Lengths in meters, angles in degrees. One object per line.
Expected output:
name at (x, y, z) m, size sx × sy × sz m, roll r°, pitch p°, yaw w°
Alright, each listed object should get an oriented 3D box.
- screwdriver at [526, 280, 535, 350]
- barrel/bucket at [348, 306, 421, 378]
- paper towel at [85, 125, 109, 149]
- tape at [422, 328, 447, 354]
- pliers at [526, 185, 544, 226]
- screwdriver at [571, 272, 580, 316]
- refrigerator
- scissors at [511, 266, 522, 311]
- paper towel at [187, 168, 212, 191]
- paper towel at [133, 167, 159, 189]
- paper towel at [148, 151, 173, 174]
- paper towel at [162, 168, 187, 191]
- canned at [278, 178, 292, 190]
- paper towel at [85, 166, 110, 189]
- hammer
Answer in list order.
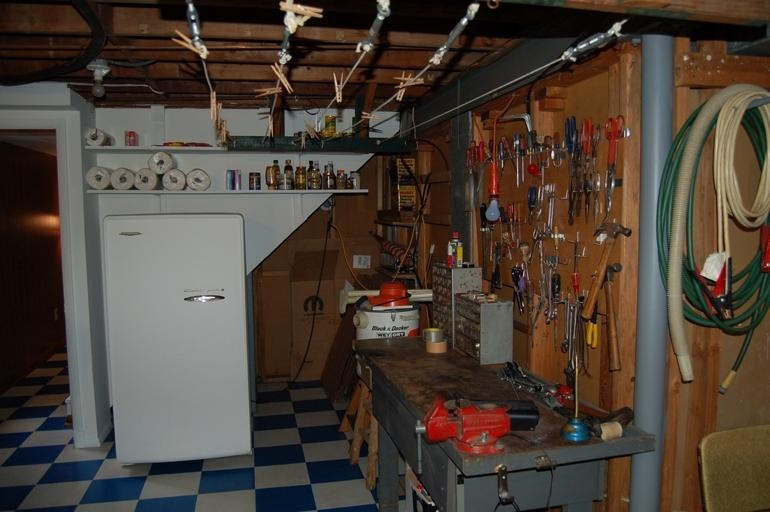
screwdriver at (1.092, 0.435, 4.611) m, size 0.065 × 0.499 × 0.057 m, roll -2°, pitch 3°, yaw -23°
barrel/bucket at (0.034, 0.710, 5.305) m, size 0.537 × 0.533 × 0.543 m, roll 0°, pitch 0°, yaw 0°
paper towel at (-2.692, -1.087, 5.797) m, size 0.192 × 0.162 × 0.244 m, roll -4°, pitch 13°, yaw -13°
tape at (0.380, 0.648, 4.720) m, size 0.135 × 0.146 × 0.199 m, roll 0°, pitch -1°, yaw -11°
pliers at (1.101, -0.378, 4.571) m, size 0.104 × 0.254 × 0.058 m, roll 2°, pitch -1°, yaw -17°
screwdriver at (1.281, 0.254, 4.187) m, size 0.045 × 0.250 × 0.045 m, roll -3°, pitch -5°, yaw 10°
refrigerator at (-1.899, 0.664, 5.819) m, size 1.363 × 2.576 × 0.840 m, roll -1°, pitch 3°, yaw -12°
scissors at (1.025, 0.255, 4.723) m, size 0.112 × 0.286 × 0.089 m, roll -2°, pitch -2°, yaw 45°
paper towel at (-1.763, -0.703, 5.836) m, size 0.201 × 0.201 × 0.124 m, roll -5°, pitch 13°, yaw -17°
paper towel at (-2.202, -0.704, 5.727) m, size 0.193 × 0.189 × 0.106 m, roll -6°, pitch 0°, yaw -7°
paper towel at (-2.075, -0.853, 5.758) m, size 0.197 × 0.193 × 0.044 m, roll -3°, pitch 7°, yaw -8°
paper towel at (-1.967, -0.700, 5.798) m, size 0.215 × 0.199 × 0.109 m, roll -6°, pitch 13°, yaw -20°
canned at (-0.970, -0.682, 6.062) m, size 0.117 × 0.118 × 0.117 m, roll 0°, pitch -2°, yaw 4°
paper towel at (-2.653, -0.705, 5.717) m, size 0.132 × 0.130 × 0.147 m, roll -34°, pitch 42°, yaw -27°
hammer at (1.392, 0.282, 3.977) m, size 0.159 × 0.965 × 0.249 m, roll 0°, pitch 8°, yaw -17°
